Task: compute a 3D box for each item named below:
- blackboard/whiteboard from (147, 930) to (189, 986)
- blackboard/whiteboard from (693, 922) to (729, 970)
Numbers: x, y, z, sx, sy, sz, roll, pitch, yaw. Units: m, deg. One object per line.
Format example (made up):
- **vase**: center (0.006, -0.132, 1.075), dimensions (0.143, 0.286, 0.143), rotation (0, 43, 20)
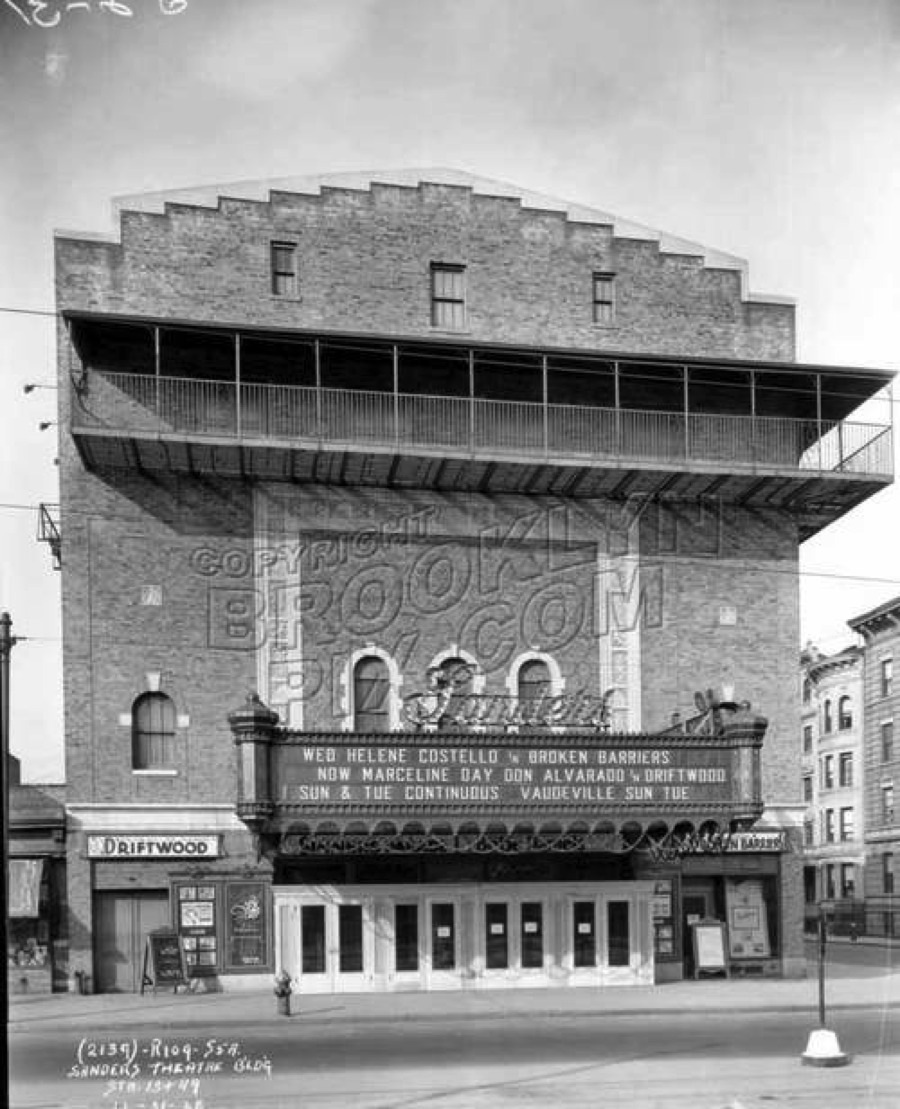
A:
- **blackboard/whiteboard**: center (-4.921, 6.998, 67.572), dimensions (0.563, 1.054, 0.677), rotation (8, -35, -32)
- **blackboard/whiteboard**: center (4.610, 7.105, 70.532), dimensions (0.605, 0.911, 0.240), rotation (3, -11, -23)
